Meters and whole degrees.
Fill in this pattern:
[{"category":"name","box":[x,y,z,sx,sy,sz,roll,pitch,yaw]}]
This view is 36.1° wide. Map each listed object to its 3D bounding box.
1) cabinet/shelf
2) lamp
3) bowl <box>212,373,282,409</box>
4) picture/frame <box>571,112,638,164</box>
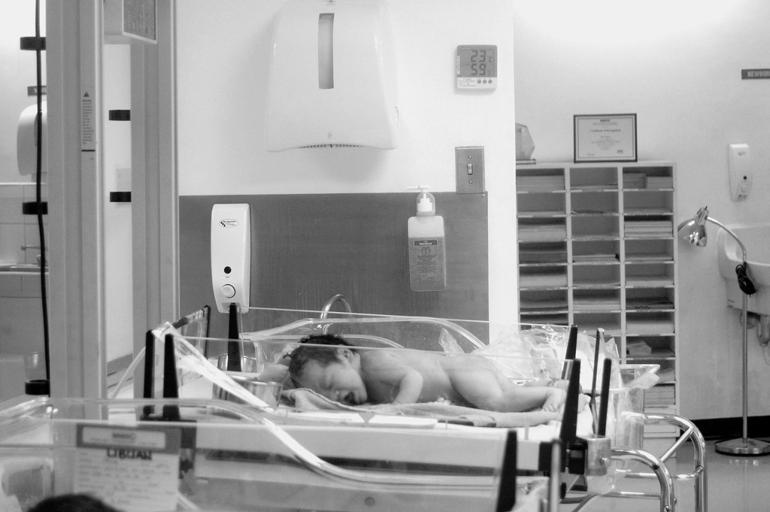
[{"category":"cabinet/shelf","box":[1.246,0.253,6.923,0.951,1.583,0.370,1,2,5]},{"category":"lamp","box":[1.966,0.421,6.837,0.567,1.407,0.455,1,2,1]},{"category":"bowl","box":[-0.508,0.508,4.453,0.172,0.117,0.125,2,2,14]},{"category":"picture/frame","box":[1.313,-0.688,6.969,0.335,0.241,0.031,1,-3,4]}]
